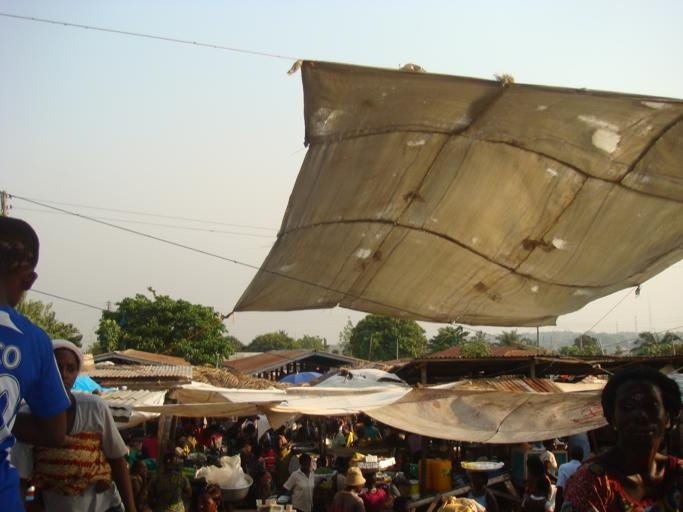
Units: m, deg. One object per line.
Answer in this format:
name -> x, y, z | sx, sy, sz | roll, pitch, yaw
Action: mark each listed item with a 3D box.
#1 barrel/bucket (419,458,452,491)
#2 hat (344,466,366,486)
barrel/bucket -> 1.360, 3.146, 11.435 | 0.389, 0.528, 0.524 | -3, -8, 20
hat -> 0.188, 2.890, 10.343 | 0.217, 0.149, 0.279 | 1, -4, 13
